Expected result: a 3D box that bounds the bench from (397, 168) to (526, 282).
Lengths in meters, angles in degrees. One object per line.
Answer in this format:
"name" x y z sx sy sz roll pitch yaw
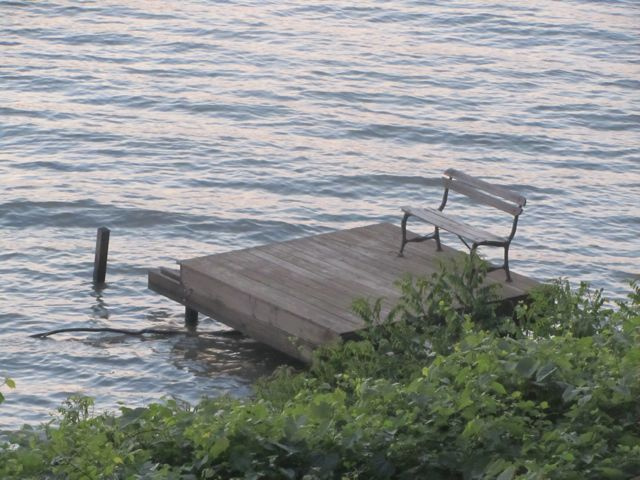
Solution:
"bench" 2.766 -0.221 29.054 1.305 1.394 2.612 -7 18 -31
